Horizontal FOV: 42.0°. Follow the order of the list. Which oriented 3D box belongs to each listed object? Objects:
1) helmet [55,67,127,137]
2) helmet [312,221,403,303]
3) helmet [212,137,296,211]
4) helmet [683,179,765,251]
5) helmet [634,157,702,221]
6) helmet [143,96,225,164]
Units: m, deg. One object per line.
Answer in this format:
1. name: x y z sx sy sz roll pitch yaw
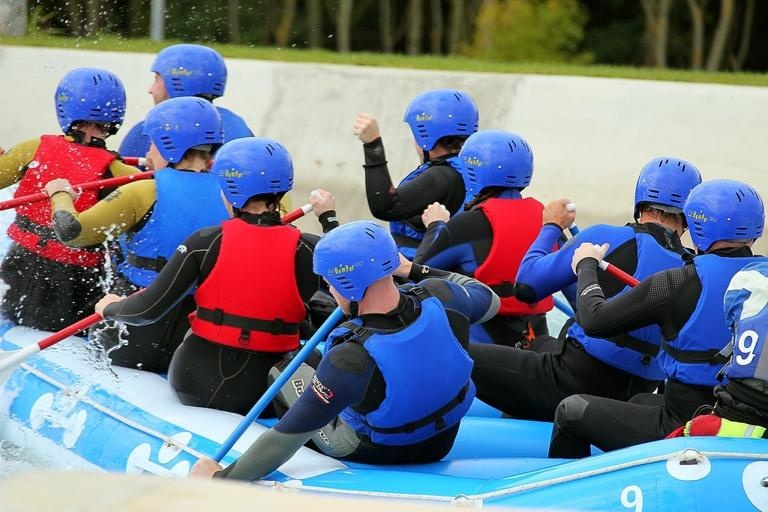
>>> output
1. helmet: -2.421 -1.243 8.403 0.558 0.448 0.429 -1 -19 3
2. helmet: -0.172 -0.001 6.518 0.647 0.461 0.457 -7 18 -4
3. helmet: -0.916 -0.617 7.246 0.646 0.444 0.472 0 12 13
4. helmet: 2.277 -0.274 6.656 0.447 0.473 0.535 -3 13 -28
5. helmet: 2.128 -0.468 7.516 0.494 0.524 0.596 9 2 13
6. helmet: -1.555 -0.981 7.771 0.641 0.433 0.443 -3 13 -5
